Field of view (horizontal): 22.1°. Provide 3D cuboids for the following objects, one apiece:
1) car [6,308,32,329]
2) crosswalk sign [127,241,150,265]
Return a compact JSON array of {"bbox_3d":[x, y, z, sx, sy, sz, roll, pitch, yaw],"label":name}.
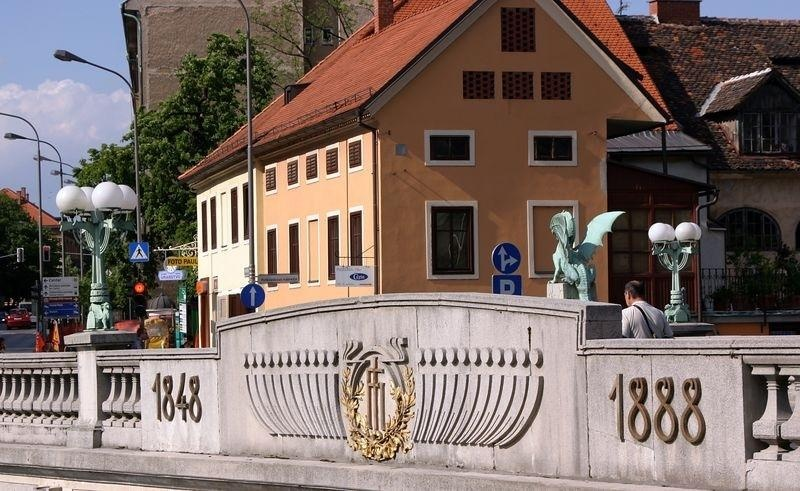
[{"bbox_3d":[-25.788,4.891,137.868,1.366,0.961,2.902,-1,4,-8],"label":"car"},{"bbox_3d":[-11.241,0.231,87.185,0.120,1.028,1.125,7,-11,-42],"label":"crosswalk sign"}]
